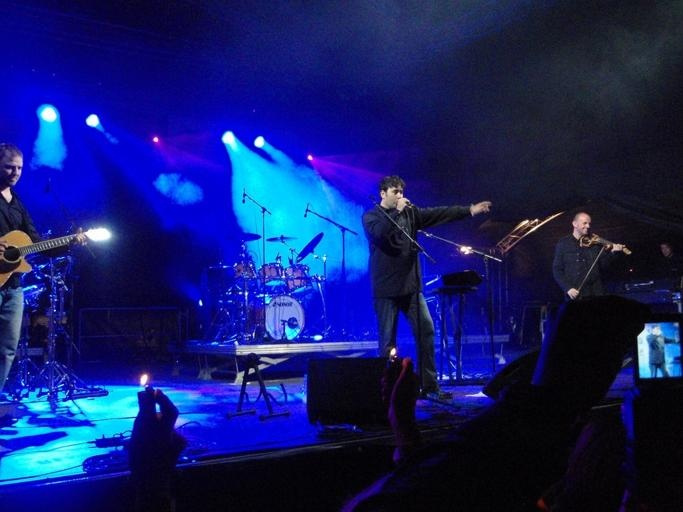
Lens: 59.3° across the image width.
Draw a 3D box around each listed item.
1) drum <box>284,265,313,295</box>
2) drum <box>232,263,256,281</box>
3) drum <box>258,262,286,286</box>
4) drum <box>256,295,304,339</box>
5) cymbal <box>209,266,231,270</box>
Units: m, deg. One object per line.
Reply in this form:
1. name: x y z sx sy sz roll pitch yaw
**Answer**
1. drum: -0.699 0.358 9.473 0.388 0.429 0.441 -20 -21 3
2. drum: -1.482 0.243 9.151 0.279 0.215 0.273 0 -16 0
3. drum: -1.065 0.280 9.220 0.420 0.345 0.300 1 -11 -24
4. drum: -0.887 0.927 9.037 0.280 0.681 0.705 -11 -13 39
5. cymbal: -2.010 0.198 9.874 0.210 0.053 0.216 -1 -4 -9
